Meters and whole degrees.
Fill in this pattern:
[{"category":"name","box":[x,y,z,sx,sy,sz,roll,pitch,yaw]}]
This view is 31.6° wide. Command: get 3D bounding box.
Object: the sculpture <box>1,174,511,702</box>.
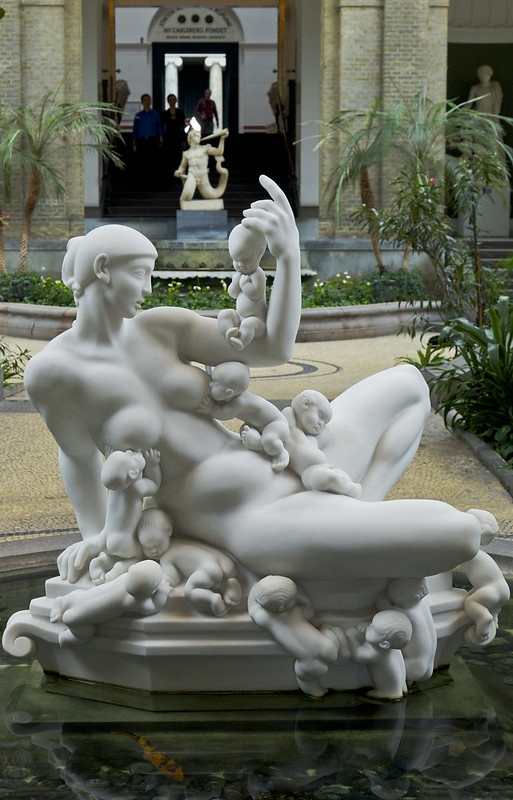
[{"category":"sculpture","box":[-0.024,0.064,2.130,1.110,1.172,0.610,0,7,12]}]
